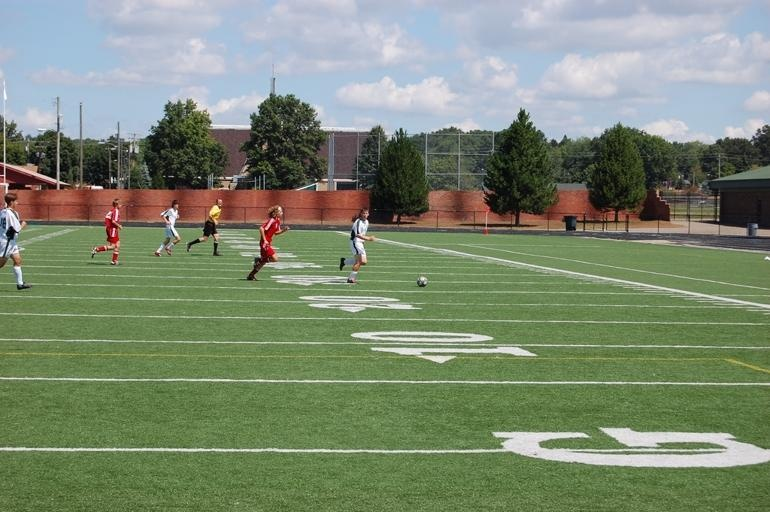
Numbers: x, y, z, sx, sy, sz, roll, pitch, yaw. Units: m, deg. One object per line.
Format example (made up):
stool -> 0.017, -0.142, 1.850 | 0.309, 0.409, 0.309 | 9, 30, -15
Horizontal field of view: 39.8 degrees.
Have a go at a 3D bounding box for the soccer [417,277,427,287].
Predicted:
soccer -> 0.863, 0.598, 24.308 | 0.206, 0.161, 0.230 | 2, -1, -1

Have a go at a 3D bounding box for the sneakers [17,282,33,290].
sneakers -> -7.538, 0.629, 22.378 | 0.361, 0.109, 0.170 | -1, -16, -40

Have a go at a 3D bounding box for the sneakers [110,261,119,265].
sneakers -> -7.170, 0.187, 28.660 | 0.315, 0.111, 0.101 | -2, 10, -15

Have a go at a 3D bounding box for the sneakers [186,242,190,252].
sneakers -> -6.213, -0.273, 33.859 | 0.091, 0.311, 0.207 | 25, 32, 7

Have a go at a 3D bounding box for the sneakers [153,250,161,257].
sneakers -> -6.750, -0.084, 31.781 | 0.219, 0.119, 0.257 | 0, -3, -9

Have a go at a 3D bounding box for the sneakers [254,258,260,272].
sneakers -> -2.952, 0.179, 25.042 | 0.162, 0.290, 0.273 | 2, 14, 3
